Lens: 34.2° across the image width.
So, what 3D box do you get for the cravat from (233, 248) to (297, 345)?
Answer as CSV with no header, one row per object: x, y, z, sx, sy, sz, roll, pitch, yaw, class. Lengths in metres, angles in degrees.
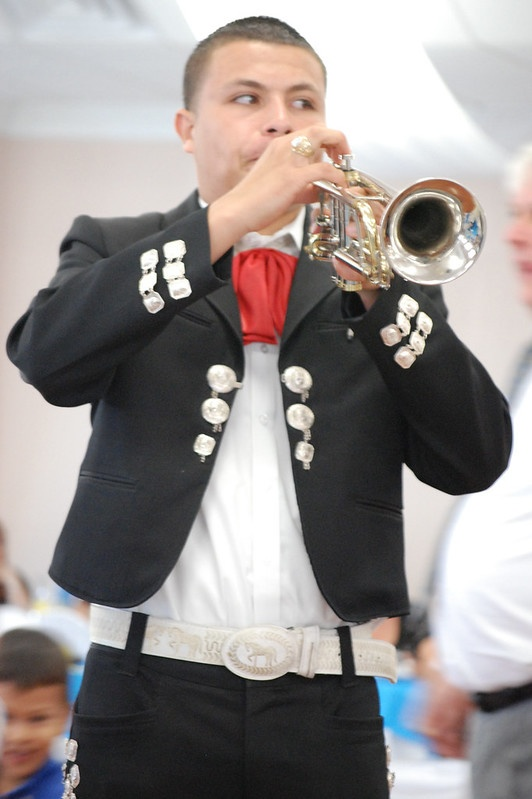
0.002,-0.184,1.514,0.156,0.051,0.155,4,65,-9,cravat

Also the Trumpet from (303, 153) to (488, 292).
0.196,-0.296,1.473,0.182,0.169,0.348,-18,25,-16,Trumpet

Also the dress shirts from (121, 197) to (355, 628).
0.002,0.083,1.324,0.256,0.096,0.509,6,72,-8,dress shirts
